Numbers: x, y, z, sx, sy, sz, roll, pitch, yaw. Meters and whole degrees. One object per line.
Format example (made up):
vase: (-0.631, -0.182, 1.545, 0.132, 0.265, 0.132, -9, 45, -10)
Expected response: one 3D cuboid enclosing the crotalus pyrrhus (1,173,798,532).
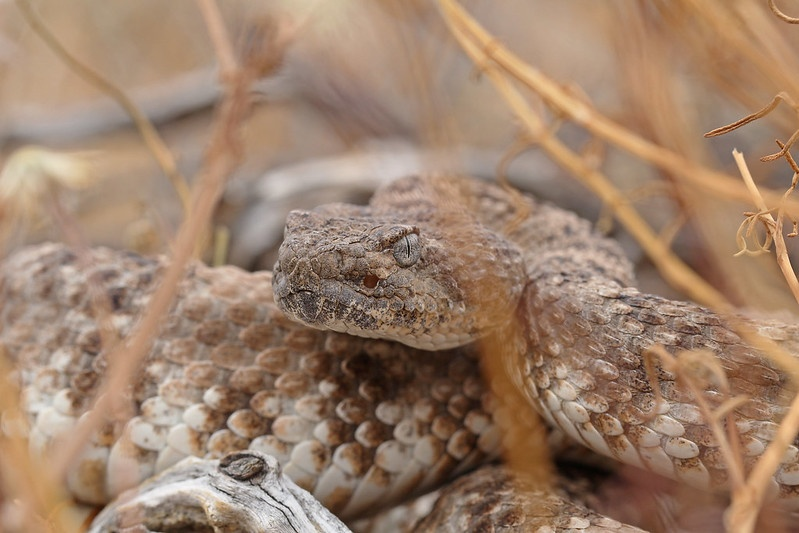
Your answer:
crotalus pyrrhus: (0.006, 0.150, 1.520, 0.711, 0.722, 0.242, 4, 87, 2)
